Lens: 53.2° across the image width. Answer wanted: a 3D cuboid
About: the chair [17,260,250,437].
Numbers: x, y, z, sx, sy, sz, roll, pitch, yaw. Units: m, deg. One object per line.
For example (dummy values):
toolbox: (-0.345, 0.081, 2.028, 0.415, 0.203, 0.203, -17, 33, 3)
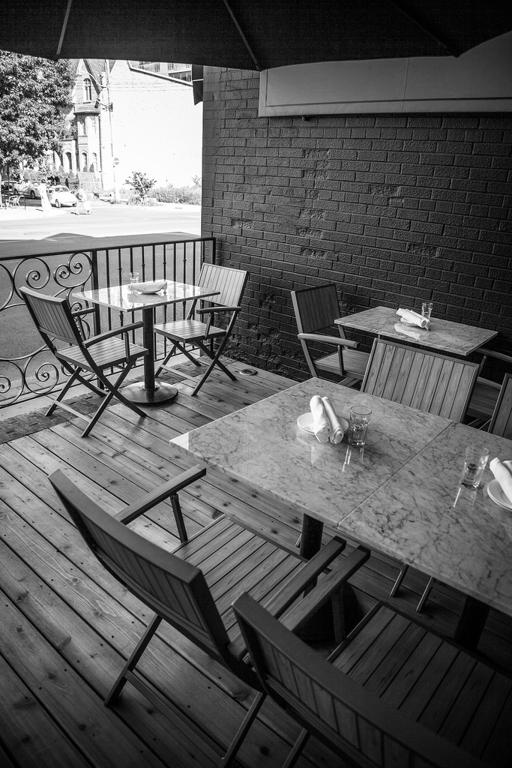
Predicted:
chair: (-0.985, -0.274, 4.236, 0.803, 1.184, 1.966, 25, 36, 34)
